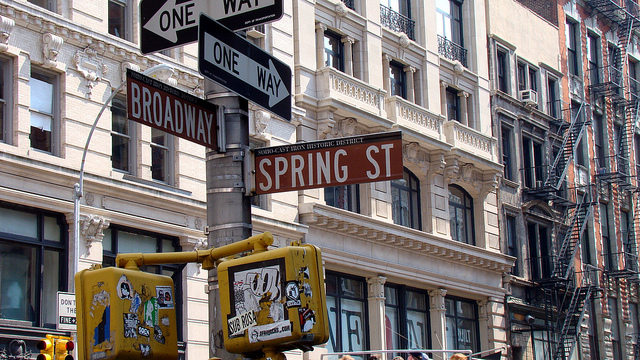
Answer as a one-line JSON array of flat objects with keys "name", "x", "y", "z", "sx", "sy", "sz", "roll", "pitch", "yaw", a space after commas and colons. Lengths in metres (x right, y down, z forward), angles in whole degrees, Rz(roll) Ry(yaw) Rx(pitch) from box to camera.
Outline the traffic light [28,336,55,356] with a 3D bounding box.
[{"name": "traffic light", "x": -12.192, "y": 7.280, "z": 65.357, "sx": 0.626, "sy": 0.985, "sz": 1.291, "roll": 5, "pitch": -9, "yaw": -40}]

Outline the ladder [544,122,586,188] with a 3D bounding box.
[{"name": "ladder", "x": 14.768, "y": -1.735, "z": 89.848, "sx": 1.886, "sy": 4.463, "sz": 2.096, "roll": -3, "pitch": 1, "yaw": -28}]

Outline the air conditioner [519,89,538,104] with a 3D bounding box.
[{"name": "air conditioner", "x": 12.498, "y": -4.827, "z": 88.443, "sx": 0.740, "sy": 0.797, "sz": 1.371, "roll": -8, "pitch": -9, "yaw": 32}]
